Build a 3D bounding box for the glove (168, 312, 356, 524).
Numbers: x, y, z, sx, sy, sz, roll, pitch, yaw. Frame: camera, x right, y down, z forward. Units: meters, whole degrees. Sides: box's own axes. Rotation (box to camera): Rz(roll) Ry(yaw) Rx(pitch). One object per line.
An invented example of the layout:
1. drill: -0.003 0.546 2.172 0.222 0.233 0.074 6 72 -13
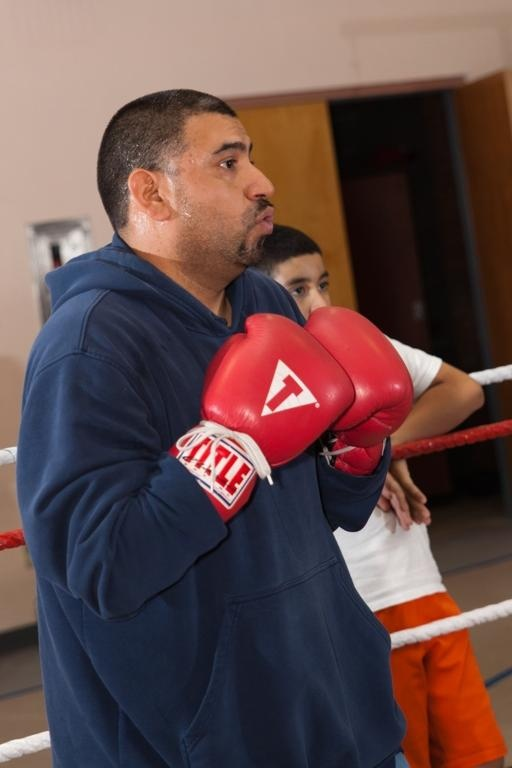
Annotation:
1. glove: -0.014 0.039 0.745 0.241 0.154 0.089 -54 3 -25
